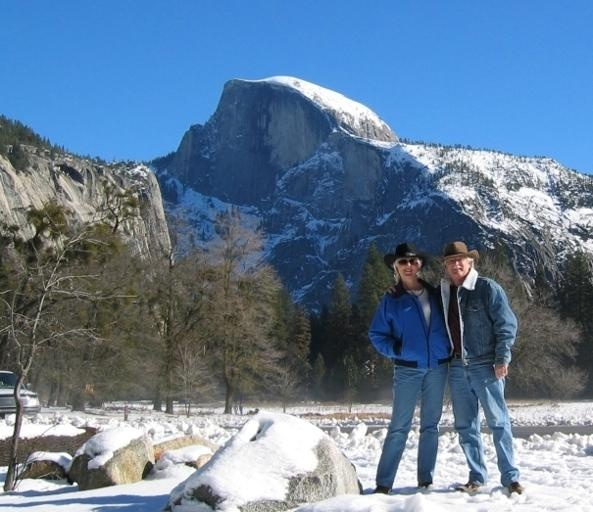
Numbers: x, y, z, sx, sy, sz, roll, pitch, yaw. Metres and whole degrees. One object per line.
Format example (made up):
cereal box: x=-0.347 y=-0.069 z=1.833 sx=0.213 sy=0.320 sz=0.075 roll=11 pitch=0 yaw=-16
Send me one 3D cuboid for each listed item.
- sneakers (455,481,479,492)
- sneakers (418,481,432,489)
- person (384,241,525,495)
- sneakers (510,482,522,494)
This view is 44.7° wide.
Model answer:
sneakers: x=2.368 y=3.160 z=9.868 sx=0.333 sy=0.190 sz=0.136 roll=2 pitch=-17 yaw=8
sneakers: x=1.829 y=3.178 z=10.110 sx=0.106 sy=0.103 sz=0.201 roll=4 pitch=-6 yaw=6
person: x=2.576 y=1.487 z=10.090 sx=0.996 sy=3.471 sz=0.445 roll=-3 pitch=-8 yaw=18
sneakers: x=2.966 y=3.094 z=9.625 sx=0.190 sy=0.142 sz=0.185 roll=-1 pitch=-9 yaw=-2
